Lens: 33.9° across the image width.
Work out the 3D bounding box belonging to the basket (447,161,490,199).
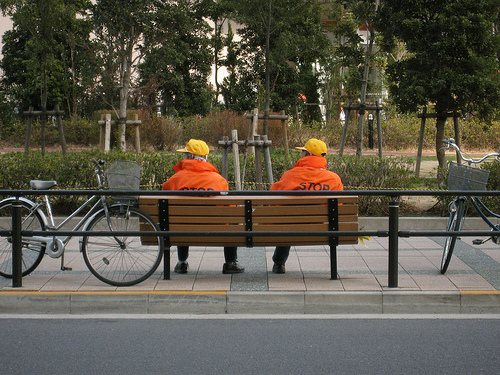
[{"bbox_3d":[3.663,-0.130,13.728,0.742,0.518,0.426,16,-2,30],"label":"basket"}]

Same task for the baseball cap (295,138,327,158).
[{"bbox_3d":[1.088,-0.675,14.049,0.392,0.202,0.243,21,9,15],"label":"baseball cap"}]

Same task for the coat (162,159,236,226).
[{"bbox_3d":[-0.866,0.100,13.725,1.020,1.149,1.067,3,6,-26],"label":"coat"}]

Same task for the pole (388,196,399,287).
[{"bbox_3d":[2.265,0.864,13.029,0.156,1.442,0.197,-1,5,8],"label":"pole"}]

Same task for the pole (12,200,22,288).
[{"bbox_3d":[-3.697,0.908,13.123,0.193,1.367,0.313,-2,5,-14],"label":"pole"}]

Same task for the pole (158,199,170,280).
[{"bbox_3d":[-1.407,0.776,13.321,0.250,0.959,0.375,2,10,-7],"label":"pole"}]

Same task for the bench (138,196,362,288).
[{"bbox_3d":[-0.029,0.893,13.452,3.498,1.392,1.157,0,-12,-4],"label":"bench"}]

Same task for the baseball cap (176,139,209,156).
[{"bbox_3d":[-0.912,-0.660,13.742,0.409,0.177,0.263,9,5,10],"label":"baseball cap"}]
